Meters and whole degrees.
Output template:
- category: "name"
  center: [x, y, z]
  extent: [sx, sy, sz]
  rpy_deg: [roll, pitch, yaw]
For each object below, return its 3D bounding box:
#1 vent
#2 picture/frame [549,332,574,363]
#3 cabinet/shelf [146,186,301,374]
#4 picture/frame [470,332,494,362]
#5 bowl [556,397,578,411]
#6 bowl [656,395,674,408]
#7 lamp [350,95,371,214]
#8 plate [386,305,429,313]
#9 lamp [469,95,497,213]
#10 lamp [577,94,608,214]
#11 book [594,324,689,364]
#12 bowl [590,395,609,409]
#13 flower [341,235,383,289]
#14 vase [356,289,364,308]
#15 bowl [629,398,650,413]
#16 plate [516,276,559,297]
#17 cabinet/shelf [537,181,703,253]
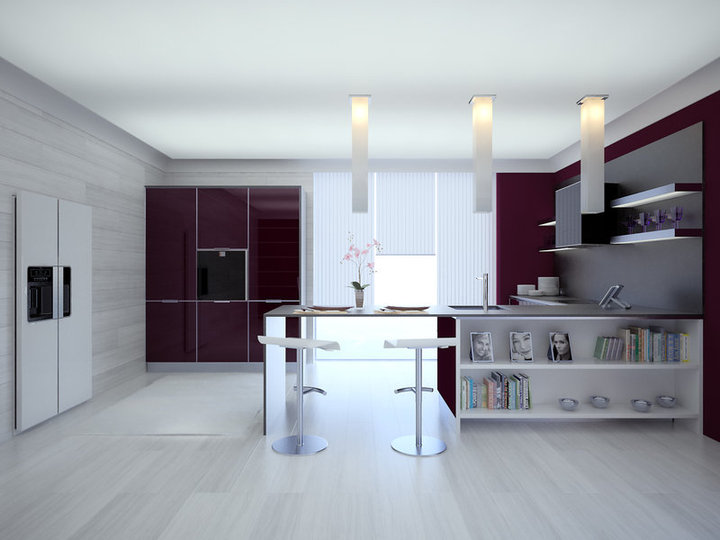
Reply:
- category: "vent"
  center: [2.746, -0.650, 6.559]
  extent: [0.300, 0.726, 0.827]
  rpy_deg: [1, -2, -7]
- category: "picture/frame"
  center: [2.004, 0.767, 5.203]
  extent: [0.270, 0.394, 0.038]
  rpy_deg: [1, -11, 3]
- category: "cabinet/shelf"
  center: [-1.857, 0.075, 7.045]
  extent: [2.439, 2.828, 0.984]
  rpy_deg: [0, -3, -1]
- category: "picture/frame"
  center: [1.209, 0.765, 5.183]
  extent: [0.275, 0.358, 0.025]
  rpy_deg: [1, -15, -1]
- category: "bowl"
  center: [2.027, 1.303, 5.097]
  extent: [0.132, 0.069, 0.131]
  rpy_deg: [1, -3, 0]
- category: "bowl"
  center: [3.069, 1.296, 5.185]
  extent: [0.176, 0.107, 0.144]
  rpy_deg: [1, 6, 10]
- category: "lamp"
  center: [0.003, -1.211, 5.459]
  extent: [0.206, 1.186, 0.197]
  rpy_deg: [0, 6, -1]
- category: "plate"
  center: [0.482, 0.394, 5.340]
  extent: [0.449, 0.046, 0.297]
  rpy_deg: [1, 6, 5]
- category: "lamp"
  center: [1.269, -1.213, 5.454]
  extent: [0.239, 1.176, 0.198]
  rpy_deg: [1, 7, 12]
- category: "lamp"
  center: [2.393, -1.190, 5.364]
  extent: [0.228, 1.180, 0.270]
  rpy_deg: [1, 7, 11]
- category: "book"
  center: [2.812, 0.732, 5.191]
  extent: [0.848, 0.315, 0.209]
  rpy_deg: [1, 6, 10]
- category: "bowl"
  center: [2.407, 1.303, 5.210]
  extent: [0.179, 0.099, 0.188]
  rpy_deg: [0, 6, 0]
- category: "flower"
  center: [0.029, -0.087, 7.782]
  extent: [0.604, 0.864, 0.360]
  rpy_deg: [0, 0, 16]
- category: "vase"
  center: [-0.009, 0.286, 5.567]
  extent: [0.058, 0.207, 0.108]
  rpy_deg: [-1, 6, -6]
- category: "bowl"
  center: [2.766, 1.317, 5.106]
  extent: [0.168, 0.118, 0.167]
  rpy_deg: [0, 6, 0]
- category: "plate"
  center: [2.633, 0.225, 7.602]
  extent: [0.552, 0.275, 0.569]
  rpy_deg: [-1, 6, -8]
- category: "cabinet/shelf"
  center: [3.074, -0.570, 5.497]
  extent: [0.372, 0.646, 1.121]
  rpy_deg: [0, 6, -1]
